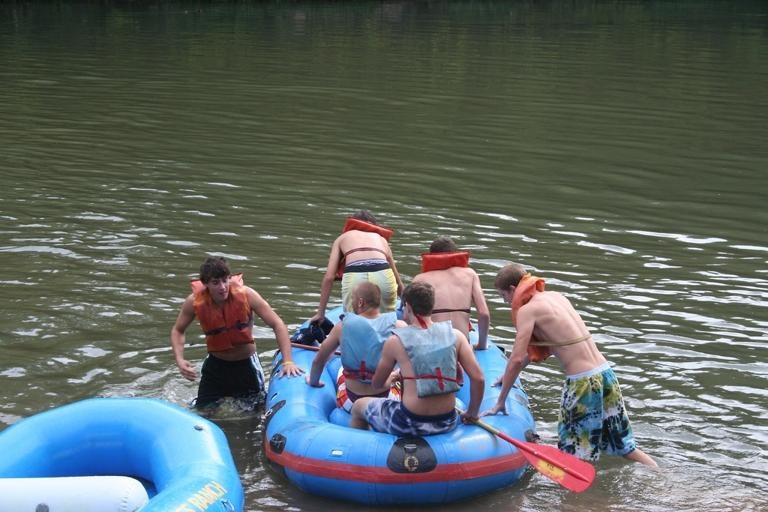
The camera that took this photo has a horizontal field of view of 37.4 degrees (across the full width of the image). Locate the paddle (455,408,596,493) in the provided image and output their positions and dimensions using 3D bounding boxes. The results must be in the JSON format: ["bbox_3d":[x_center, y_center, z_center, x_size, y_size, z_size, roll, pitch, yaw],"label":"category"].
[{"bbox_3d":[1.892,2.567,14.978,2.115,0.471,0.101,27,-17,13],"label":"paddle"}]
